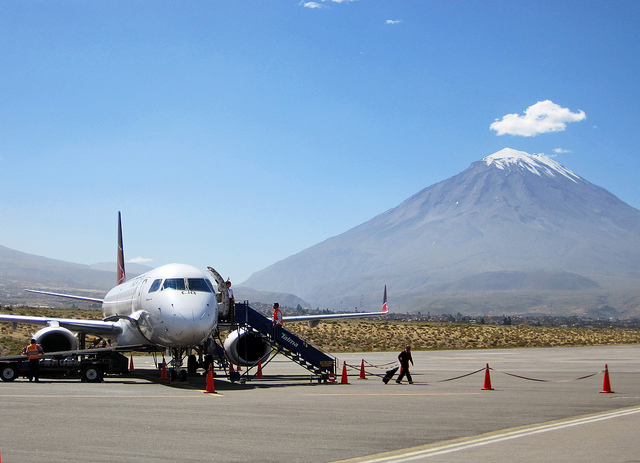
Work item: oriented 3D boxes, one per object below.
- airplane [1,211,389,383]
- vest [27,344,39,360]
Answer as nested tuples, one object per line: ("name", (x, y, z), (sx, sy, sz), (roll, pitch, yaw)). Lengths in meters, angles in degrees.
("airplane", (-10.050, 4.874, 36.183), (10.634, 10.371, 16.209), (-9, 11, -43))
("vest", (-14.482, 5.950, 31.346), (0.463, 0.846, 0.614), (-5, 9, -26))
